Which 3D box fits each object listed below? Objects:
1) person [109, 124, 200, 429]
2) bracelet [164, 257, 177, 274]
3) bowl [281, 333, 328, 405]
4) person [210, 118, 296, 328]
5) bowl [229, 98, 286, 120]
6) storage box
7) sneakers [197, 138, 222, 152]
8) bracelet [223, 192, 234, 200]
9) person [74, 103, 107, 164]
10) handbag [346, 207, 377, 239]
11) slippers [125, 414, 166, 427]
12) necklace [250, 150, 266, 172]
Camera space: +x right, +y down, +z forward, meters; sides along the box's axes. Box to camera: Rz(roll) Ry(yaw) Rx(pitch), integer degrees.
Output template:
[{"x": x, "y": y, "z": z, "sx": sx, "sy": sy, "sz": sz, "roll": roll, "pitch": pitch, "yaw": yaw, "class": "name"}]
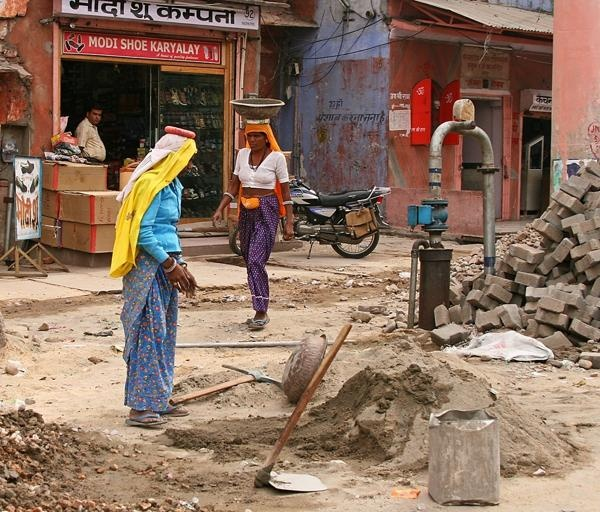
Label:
[{"x": -1.036, "y": 0.152, "z": 7.042, "sx": 0.470, "sy": 2.150, "sz": 0.561, "roll": 4, "pitch": 5, "yaw": 45, "class": "person"}, {"x": -0.909, "y": 0.073, "z": 6.919, "sx": 0.086, "sy": 0.091, "sz": 0.036, "roll": -8, "pitch": -26, "yaw": 29, "class": "bracelet"}, {"x": 0.017, "y": 0.876, "z": 7.401, "sx": 0.360, "sy": 0.543, "sz": 0.323, "roll": 1, "pitch": 4, "yaw": 12, "class": "bowl"}, {"x": -0.435, "y": -0.269, "z": 9.803, "sx": 0.677, "sy": 2.001, "sz": 0.482, "roll": 0, "pitch": 4, "yaw": 8, "class": "person"}, {"x": -0.447, "y": -1.500, "z": 10.046, "sx": 0.507, "sy": 0.271, "sz": 0.694, "roll": 0, "pitch": 3, "yaw": -5, "class": "bowl"}, {"x": -2.989, "y": -0.676, "z": 14.010, "sx": 1.414, "sy": 1.038, "sz": 1.360, "roll": -1, "pitch": 8, "yaw": -37, "class": "storage box"}, {"x": -1.476, "y": -1.797, "z": 16.230, "sx": 0.148, "sy": 0.176, "sz": 0.449, "roll": 8, "pitch": 12, "yaw": 42, "class": "sneakers"}, {"x": -0.721, "y": -0.595, "z": 9.959, "sx": 0.076, "sy": 0.026, "sz": 0.077, "roll": 43, "pitch": -6, "yaw": -9, "class": "bracelet"}, {"x": -3.260, "y": -1.873, "z": 15.367, "sx": 0.416, "sy": 0.861, "sz": 1.813, "roll": -1, "pitch": 3, "yaw": -13, "class": "person"}, {"x": 0.880, "y": -0.487, "z": 14.760, "sx": 0.397, "sy": 0.365, "sz": 0.205, "roll": -16, "pitch": 5, "yaw": -18, "class": "handbag"}, {"x": -1.098, "y": 1.191, "z": 7.086, "sx": 0.262, "sy": 0.095, "sz": 0.096, "roll": 1, "pitch": 2, "yaw": 2, "class": "slippers"}, {"x": -0.441, "y": -0.935, "z": 9.720, "sx": 0.134, "sy": 0.188, "sz": 0.039, "roll": 11, "pitch": -9, "yaw": 15, "class": "necklace"}]
